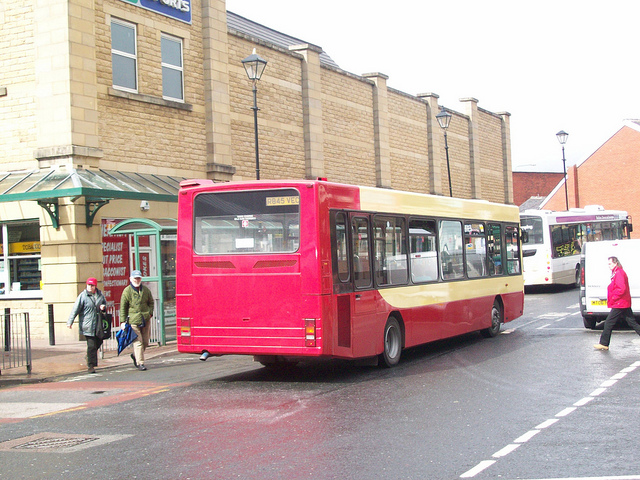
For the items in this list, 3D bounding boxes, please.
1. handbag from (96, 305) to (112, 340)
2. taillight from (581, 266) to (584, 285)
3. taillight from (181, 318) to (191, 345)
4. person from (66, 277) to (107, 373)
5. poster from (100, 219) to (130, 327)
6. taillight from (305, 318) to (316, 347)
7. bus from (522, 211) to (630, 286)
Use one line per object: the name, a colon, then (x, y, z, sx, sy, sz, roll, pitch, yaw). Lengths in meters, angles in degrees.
handbag: (-4.766, 1.881, 14.510, 0.313, 0.590, 0.208, -2, -4, -20)
taillight: (7.142, 0.977, 17.954, 0.090, 0.453, 0.384, -5, -4, 23)
taillight: (-2.474, 1.671, 12.130, 0.222, 0.482, 0.051, -5, -4, 29)
person: (-5.143, 1.889, 14.625, 0.767, 2.075, 0.709, -2, -4, -21)
poster: (-6.263, 0.624, 20.281, 0.402, 2.544, 1.171, -4, -4, 16)
taillight: (-0.175, 1.577, 11.290, 0.206, 0.490, 0.028, -4, -4, 18)
bus: (12.838, 0.169, 33.198, 8.953, 3.285, 2.299, -6, 2, -43)
